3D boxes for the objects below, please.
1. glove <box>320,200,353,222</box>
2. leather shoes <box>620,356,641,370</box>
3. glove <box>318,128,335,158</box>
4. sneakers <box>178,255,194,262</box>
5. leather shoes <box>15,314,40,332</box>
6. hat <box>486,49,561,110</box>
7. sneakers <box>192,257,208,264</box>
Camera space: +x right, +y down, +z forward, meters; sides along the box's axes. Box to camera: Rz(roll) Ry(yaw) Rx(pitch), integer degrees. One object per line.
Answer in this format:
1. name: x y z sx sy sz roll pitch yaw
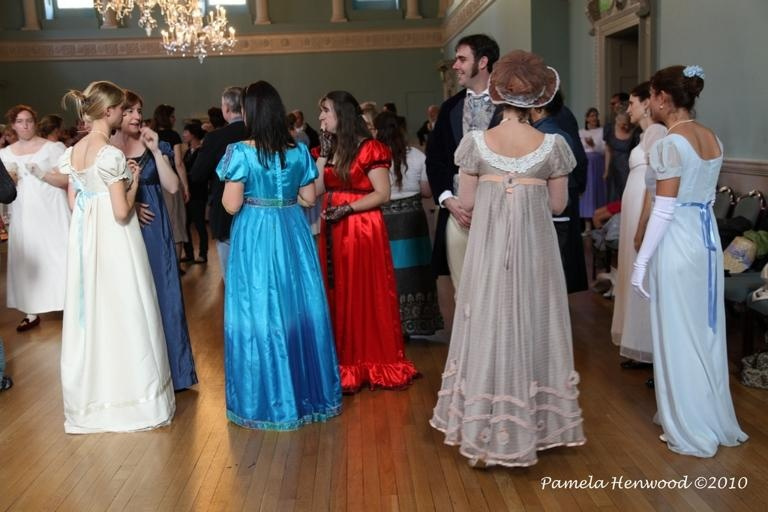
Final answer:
1. glove: -0.333 -0.296 4.147 0.168 0.124 0.058 5 27 15
2. leather shoes: 1.867 0.815 4.437 0.119 0.039 0.060 0 27 1
3. glove: -0.411 -0.797 4.175 0.124 0.184 0.056 6 13 21
4. sneakers: -2.846 0.048 8.475 0.264 0.116 0.100 5 5 10
5. leather shoes: -3.467 0.651 5.723 0.105 0.100 0.219 5 11 23
6. hat: 0.750 -0.937 3.183 0.323 0.335 0.131 7 -4 1
7. sneakers: -2.642 0.066 8.420 0.229 0.104 0.082 5 5 1
